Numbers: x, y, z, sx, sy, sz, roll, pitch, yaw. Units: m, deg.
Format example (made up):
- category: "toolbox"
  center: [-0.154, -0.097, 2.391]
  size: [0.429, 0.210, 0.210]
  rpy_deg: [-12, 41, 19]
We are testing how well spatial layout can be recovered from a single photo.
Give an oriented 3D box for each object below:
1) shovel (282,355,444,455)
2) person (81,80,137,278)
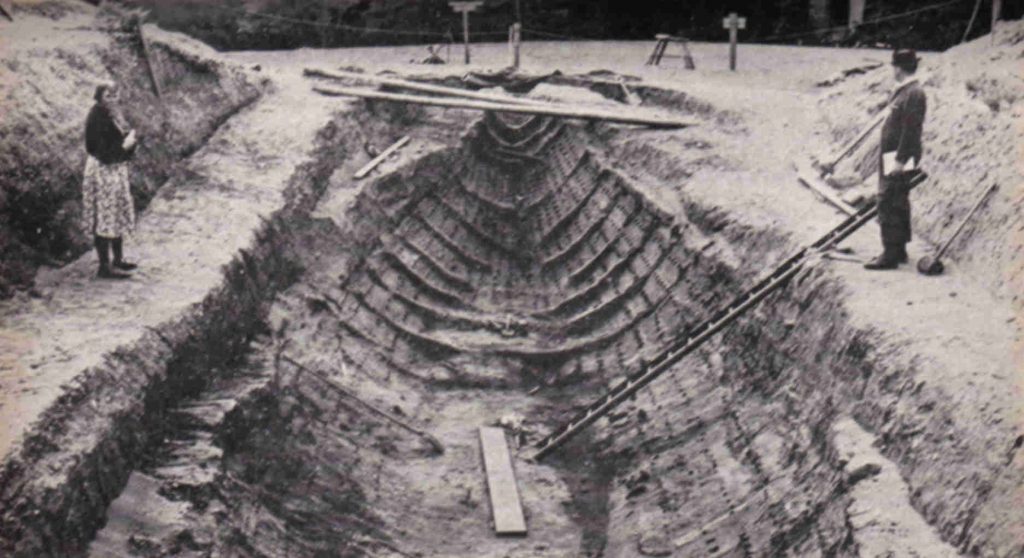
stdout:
- category: "shovel"
  center: [-2.928, 2.428, 31.098]
  size: [3.466, 0.377, 0.365]
  rpy_deg: [26, 16, -9]
- category: "person"
  center: [-7.234, -1.677, 29.715]
  size: [0.849, 3.174, 1.176]
  rpy_deg: [5, -1, 21]
